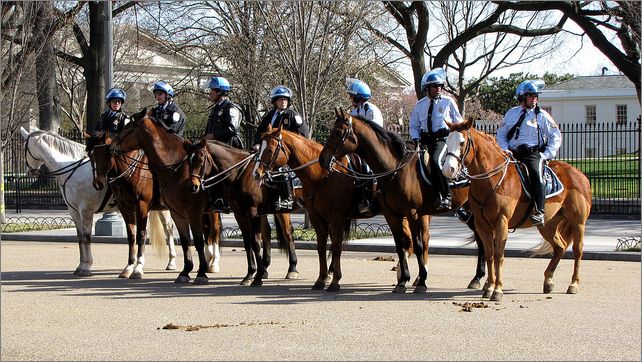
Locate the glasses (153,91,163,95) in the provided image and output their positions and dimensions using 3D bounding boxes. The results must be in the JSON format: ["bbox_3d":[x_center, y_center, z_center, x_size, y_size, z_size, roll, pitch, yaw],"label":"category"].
[{"bbox_3d":[-5.195,-2.820,26.778,0.303,0.131,0.162,1,12,10],"label":"glasses"}]

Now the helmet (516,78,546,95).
[{"bbox_3d":[6.262,-2.815,25.171,0.666,0.325,0.477,-7,1,29],"label":"helmet"}]

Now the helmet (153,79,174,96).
[{"bbox_3d":[-5.128,-2.969,27.042,0.488,0.554,0.643,13,35,35],"label":"helmet"}]

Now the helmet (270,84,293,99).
[{"bbox_3d":[-1.393,-2.792,26.241,0.457,0.301,0.639,3,-9,-44],"label":"helmet"}]

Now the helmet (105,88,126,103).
[{"bbox_3d":[-6.769,-2.749,27.618,0.482,0.570,0.443,7,37,-14],"label":"helmet"}]

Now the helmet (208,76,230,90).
[{"bbox_3d":[-3.262,-3.148,26.908,0.610,0.280,0.408,9,3,-7],"label":"helmet"}]
